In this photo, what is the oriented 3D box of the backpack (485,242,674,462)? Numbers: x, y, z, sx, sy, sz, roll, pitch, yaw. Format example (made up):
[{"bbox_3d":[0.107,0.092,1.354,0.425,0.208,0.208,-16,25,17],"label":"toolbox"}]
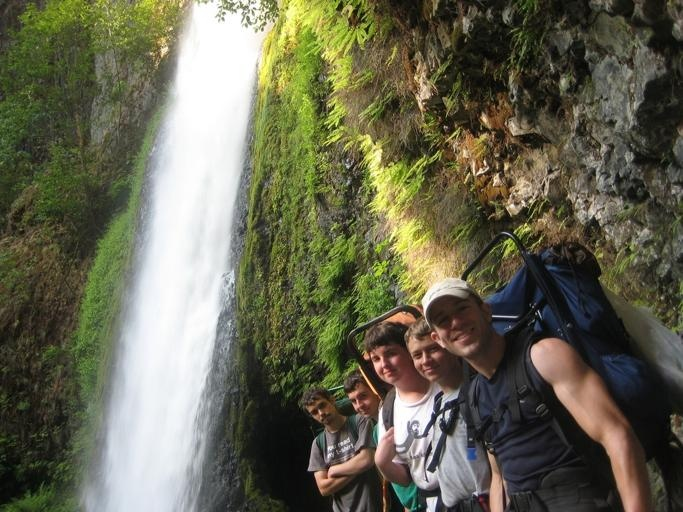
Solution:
[{"bbox_3d":[1.358,0.585,3.147,0.396,0.933,0.690,-19,-38,-9],"label":"backpack"}]

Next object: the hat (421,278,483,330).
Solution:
[{"bbox_3d":[0.676,0.286,3.404,0.223,0.369,0.335,-23,4,16],"label":"hat"}]
